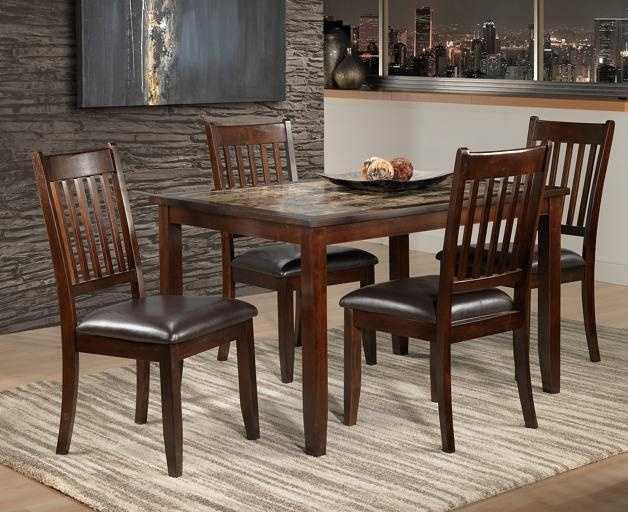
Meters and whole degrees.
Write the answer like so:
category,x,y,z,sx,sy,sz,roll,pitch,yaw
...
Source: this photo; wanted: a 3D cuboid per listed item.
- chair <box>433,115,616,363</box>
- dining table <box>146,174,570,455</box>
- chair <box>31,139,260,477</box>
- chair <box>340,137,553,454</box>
category,x,y,z,sx,sy,sz,roll,pitch,yaw
chair,0.963,-0.074,2.701,0.982,1.161,0.878,-4,18,12
dining table,0.034,0.057,2.087,0.808,0.595,1.027,-15,18,-36
chair,-0.505,0.131,1.592,0.547,0.973,0.403,2,7,20
chair,0.428,0.126,1.799,0.671,0.812,0.639,-2,0,-20
